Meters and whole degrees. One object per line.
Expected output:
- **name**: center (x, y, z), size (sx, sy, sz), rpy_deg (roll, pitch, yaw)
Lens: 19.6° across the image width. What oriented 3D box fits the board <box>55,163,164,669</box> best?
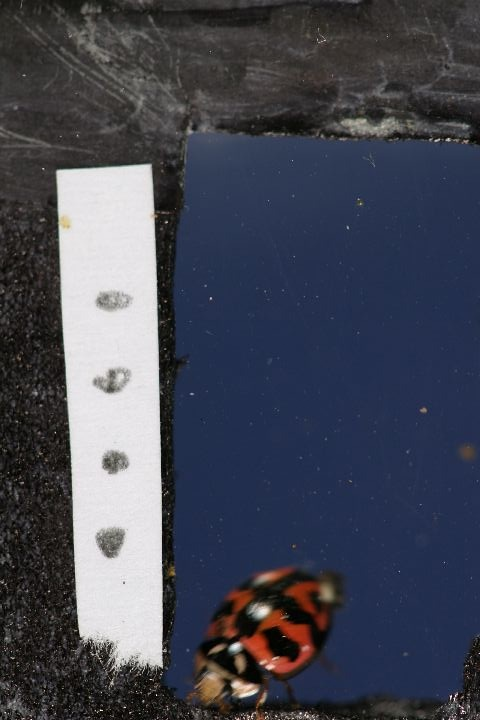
- **board**: center (-0.682, 0.328, 7.553), size (0.543, 3.023, 0.024), rpy_deg (-3, 34, -7)
